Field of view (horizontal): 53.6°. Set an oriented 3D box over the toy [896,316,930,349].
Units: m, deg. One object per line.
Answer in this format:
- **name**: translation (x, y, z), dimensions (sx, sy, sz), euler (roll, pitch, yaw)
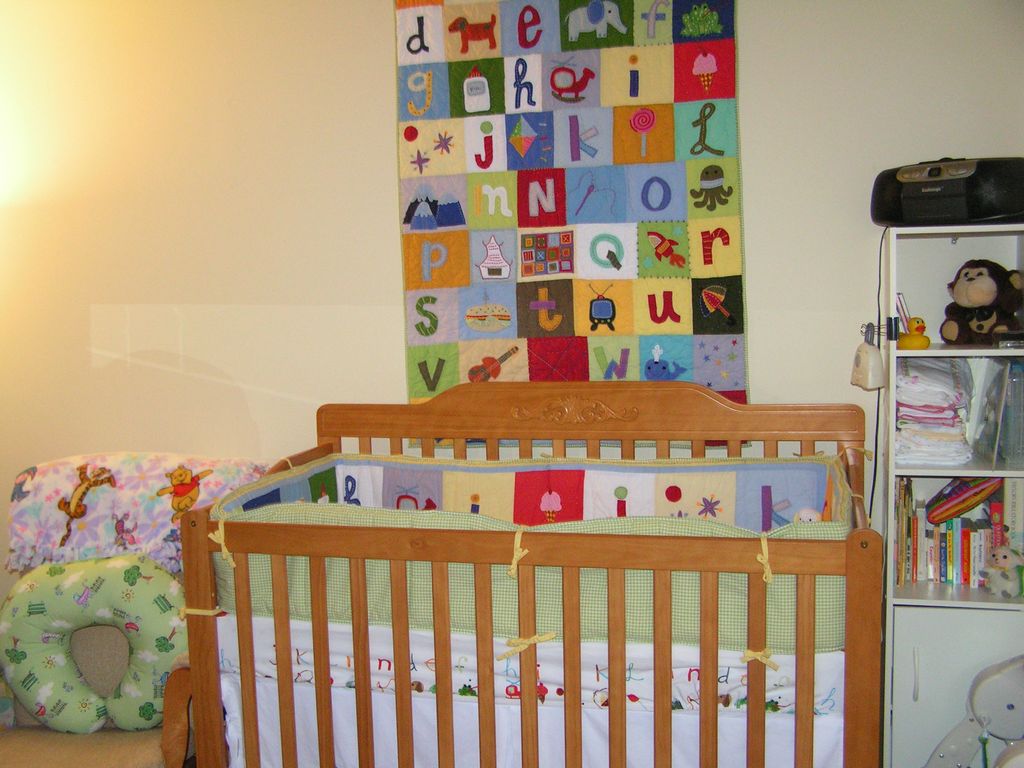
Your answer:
- **toy**: translation (1.264, -0.146, 3.181), dimensions (0.084, 0.100, 0.092), euler (-7, -5, 40)
